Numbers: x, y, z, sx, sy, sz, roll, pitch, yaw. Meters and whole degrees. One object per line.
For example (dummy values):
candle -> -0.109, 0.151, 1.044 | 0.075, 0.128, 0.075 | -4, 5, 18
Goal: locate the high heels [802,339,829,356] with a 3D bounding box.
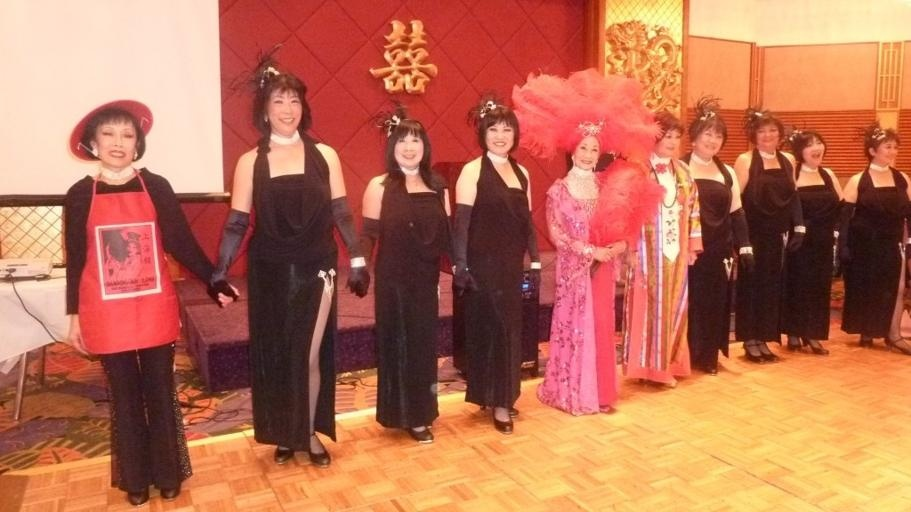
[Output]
high heels -> 3.752, 0.941, 7.127 | 0.126, 0.131, 0.331 | -7, 14, -26

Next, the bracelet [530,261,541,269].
bracelet -> 0.688, 0.091, 5.869 | 0.091, 0.052, 0.085 | 0, 11, 3

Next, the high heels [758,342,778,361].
high heels -> 3.157, 0.977, 6.857 | 0.103, 0.118, 0.302 | -2, 9, -8

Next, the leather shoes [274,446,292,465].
leather shoes -> -1.355, 1.559, 5.268 | 0.079, 0.079, 0.210 | 4, -3, 1

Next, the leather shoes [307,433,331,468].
leather shoes -> -1.070, 1.522, 5.248 | 0.117, 0.108, 0.320 | -1, 13, -36

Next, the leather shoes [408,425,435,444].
leather shoes -> -0.290, 1.461, 5.549 | 0.086, 0.097, 0.251 | -2, 4, -39

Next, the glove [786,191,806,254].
glove -> 3.436, -0.343, 6.900 | 0.182, 0.487, 0.380 | 0, -8, 9

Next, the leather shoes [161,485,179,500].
leather shoes -> -2.088, 1.730, 4.927 | 0.075, 0.064, 0.159 | 2, -13, -9
